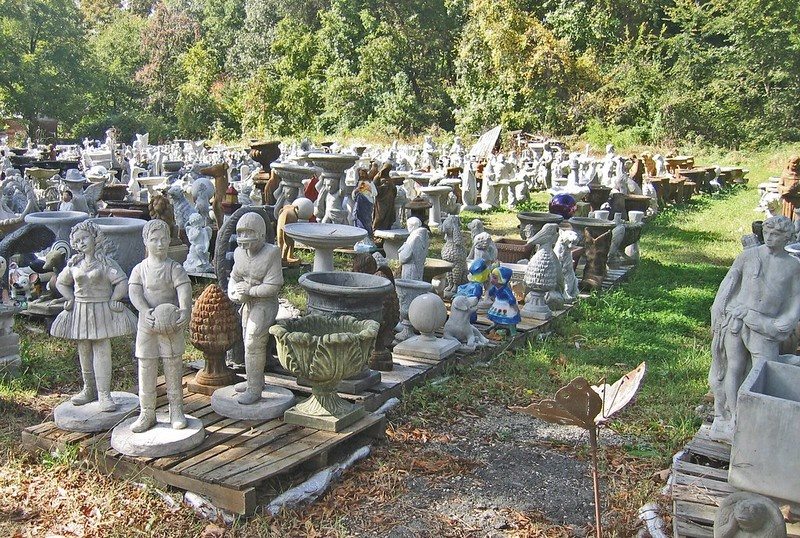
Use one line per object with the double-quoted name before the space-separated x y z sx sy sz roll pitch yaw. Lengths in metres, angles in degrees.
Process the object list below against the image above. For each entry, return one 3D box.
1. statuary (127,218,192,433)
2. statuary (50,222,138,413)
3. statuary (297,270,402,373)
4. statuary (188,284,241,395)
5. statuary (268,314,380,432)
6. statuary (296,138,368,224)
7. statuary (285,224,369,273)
"statuary" -2.673 0.628 9.685 0.655 2.319 0.567 -1 10 -17
"statuary" -3.452 0.535 9.848 0.921 2.132 0.529 -1 10 -16
"statuary" -0.757 0.826 11.028 1.204 1.204 1.226 2 -8 -4
"statuary" -2.216 0.842 10.581 0.863 1.289 0.819 -2 3 -8
"statuary" -0.872 1.290 10.268 1.220 1.025 1.253 0 -5 -19
"statuary" -1.231 -1.472 16.003 0.917 1.274 1.229 0 10 -8
"statuary" -1.101 -0.091 12.784 1.084 0.867 1.115 5 5 -6
